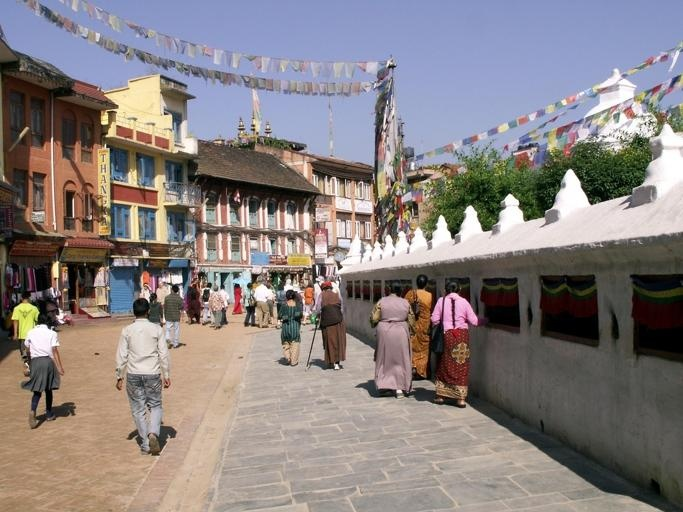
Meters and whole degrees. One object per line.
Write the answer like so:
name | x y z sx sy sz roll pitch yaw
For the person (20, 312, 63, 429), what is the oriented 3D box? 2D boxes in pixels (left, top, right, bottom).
person | -5.089 1.890 10.967 0.586 1.851 1.308 -2 -3 -26

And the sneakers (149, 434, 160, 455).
sneakers | -2.571 2.611 8.892 0.109 0.340 0.144 -1 9 1

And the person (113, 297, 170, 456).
person | -2.794 1.695 9.099 0.707 2.177 0.608 -2 -3 -19

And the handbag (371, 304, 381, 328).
handbag | 0.627 1.092 11.688 0.130 0.381 0.258 7 2 11

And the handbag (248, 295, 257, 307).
handbag | -3.911 2.016 28.356 0.308 0.732 0.688 -5 1 -7

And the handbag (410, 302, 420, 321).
handbag | 1.391 1.031 12.101 0.090 0.310 0.221 3 -8 -21

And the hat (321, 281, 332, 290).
hat | -0.422 0.832 18.074 0.329 0.176 0.508 0 -2 -5
